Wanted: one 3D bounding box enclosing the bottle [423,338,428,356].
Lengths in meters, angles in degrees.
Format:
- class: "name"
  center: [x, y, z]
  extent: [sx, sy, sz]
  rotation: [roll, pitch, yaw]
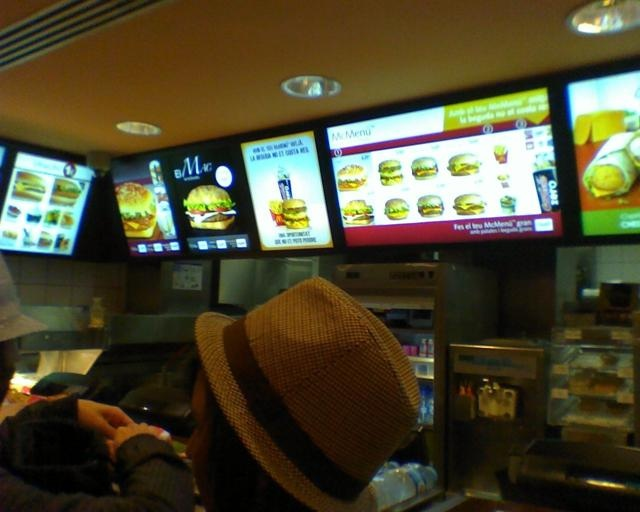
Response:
- class: "bottle"
  center: [0.696, 0.615, 3.305]
  extent: [0.036, 0.105, 0.097]
  rotation: [-3, -3, 12]
